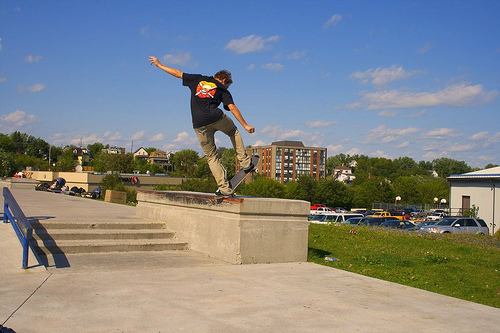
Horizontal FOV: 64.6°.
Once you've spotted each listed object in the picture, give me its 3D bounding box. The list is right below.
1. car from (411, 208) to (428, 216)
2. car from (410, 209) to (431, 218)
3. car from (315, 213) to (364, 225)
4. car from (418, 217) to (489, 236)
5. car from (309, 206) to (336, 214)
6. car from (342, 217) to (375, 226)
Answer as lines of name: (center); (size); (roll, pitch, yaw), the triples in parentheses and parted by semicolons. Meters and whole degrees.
car: (29.629, 7.452, 68.930); (2.941, 1.373, 1.712); (9, -11, -33)
car: (29.004, 7.753, 67.275); (2.281, 0.790, 1.182); (-3, 1, -22)
car: (6.376, 3.603, 27.815); (1.415, 0.893, 2.455); (1, -11, -30)
car: (12.268, 3.484, 23.398); (3.406, 1.336, 1.731); (4, -8, -5)
car: (11.510, 6.879, 63.903); (3.049, 1.045, 5.270); (4, -1, 14)
car: (7.195, 3.577, 26.648); (1.145, 0.617, 2.012); (1, 2, 0)
